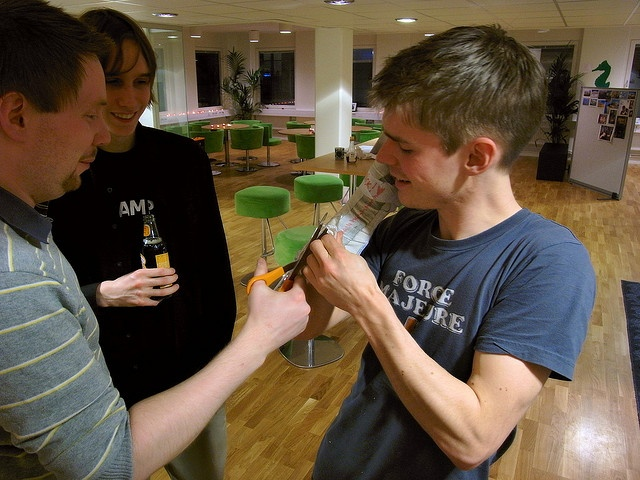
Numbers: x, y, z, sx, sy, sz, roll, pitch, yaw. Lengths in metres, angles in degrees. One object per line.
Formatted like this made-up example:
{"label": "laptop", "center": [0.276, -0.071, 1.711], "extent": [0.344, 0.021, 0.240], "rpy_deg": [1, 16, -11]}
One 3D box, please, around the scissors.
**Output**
{"label": "scissors", "center": [-0.121, 0.029, 1.362], "extent": [0.252, 0.230, 0.221], "rpy_deg": [-12, 19, -25]}

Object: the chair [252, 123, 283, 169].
{"label": "chair", "center": [-1.169, -2.131, 10.103], "extent": [0.630, 0.791, 0.610], "rpy_deg": [-19, 22, -40]}

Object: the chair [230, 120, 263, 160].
{"label": "chair", "center": [-1.546, -2.023, 9.235], "extent": [0.633, 0.652, 0.584], "rpy_deg": [4, 28, 1]}

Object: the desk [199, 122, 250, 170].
{"label": "desk", "center": [-1.969, -2.017, 9.488], "extent": [0.947, 0.919, 0.950], "rpy_deg": [-10, -8, -7]}

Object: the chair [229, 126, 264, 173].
{"label": "chair", "center": [-1.583, -1.955, 9.381], "extent": [0.657, 0.948, 0.771], "rpy_deg": [-21, 36, -38]}

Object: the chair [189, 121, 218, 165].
{"label": "chair", "center": [-2.388, -2.049, 9.272], "extent": [0.621, 0.666, 0.532], "rpy_deg": [-21, 34, -37]}
